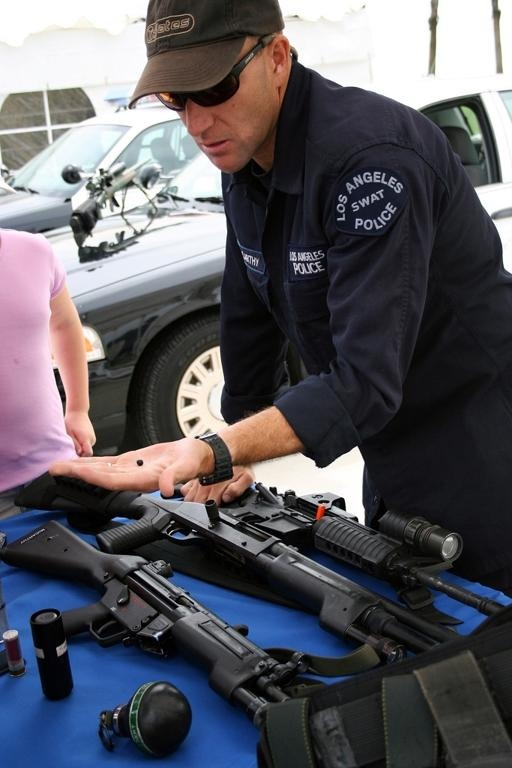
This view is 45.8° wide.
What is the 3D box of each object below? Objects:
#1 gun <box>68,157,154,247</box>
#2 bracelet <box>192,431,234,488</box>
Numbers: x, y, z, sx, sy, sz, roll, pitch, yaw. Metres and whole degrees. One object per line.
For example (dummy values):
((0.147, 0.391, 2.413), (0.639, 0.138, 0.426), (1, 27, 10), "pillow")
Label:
((-1.026, -1.288, 4.053), (0.540, 0.767, 0.537), (16, 28, 34), "gun")
((-0.072, 0.152, 1.268), (0.089, 0.100, 0.107), (17, 24, 38), "bracelet")
